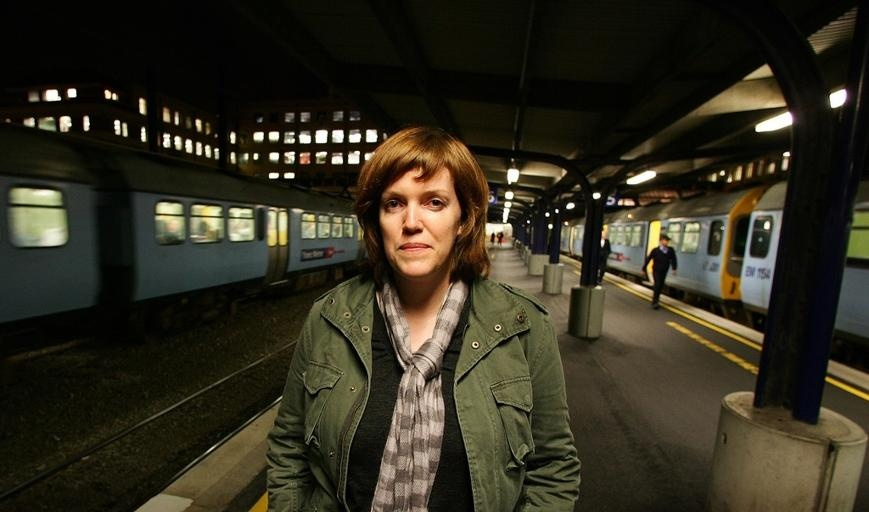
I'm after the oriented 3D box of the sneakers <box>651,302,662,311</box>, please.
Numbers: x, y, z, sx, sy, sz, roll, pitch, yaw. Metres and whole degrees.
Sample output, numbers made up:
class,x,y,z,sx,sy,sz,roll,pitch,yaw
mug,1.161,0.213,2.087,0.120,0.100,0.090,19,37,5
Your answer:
class,x,y,z,sx,sy,sz,roll,pitch,yaw
sneakers,6.709,1.510,15.923,0.139,0.278,0.408,-2,-12,4

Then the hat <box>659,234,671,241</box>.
class,x,y,z,sx,sy,sz,roll,pitch,yaw
hat,7.588,-0.595,17.351,0.313,0.085,0.303,-5,7,-32

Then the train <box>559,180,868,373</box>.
class,x,y,z,sx,sy,sz,roll,pitch,yaw
train,9.207,-0.069,17.743,1.127,4.251,12.828,0,4,-5
